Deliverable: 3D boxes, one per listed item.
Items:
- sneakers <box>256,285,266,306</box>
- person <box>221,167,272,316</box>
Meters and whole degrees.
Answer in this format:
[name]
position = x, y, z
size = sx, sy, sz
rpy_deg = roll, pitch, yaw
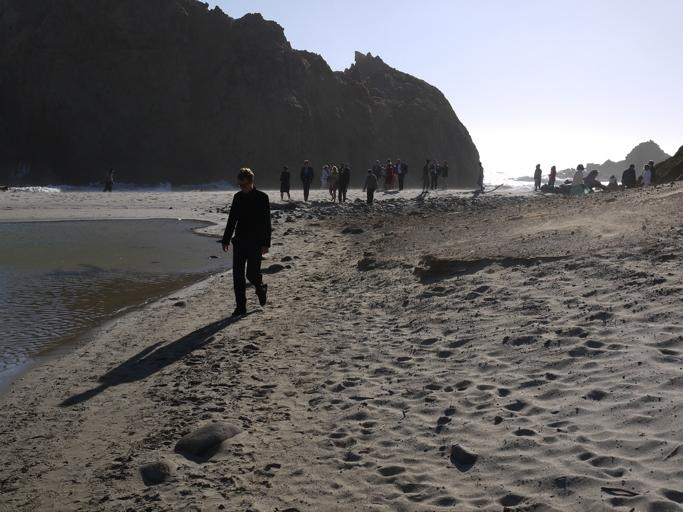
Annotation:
[sneakers]
position = -1.379, 0.680, 9.932
size = 0.149, 0.387, 0.173
rpy_deg = 0, -2, -16
[person]
position = -1.576, -0.237, 9.515
size = 0.786, 2.487, 0.908
rpy_deg = 0, 8, -9
